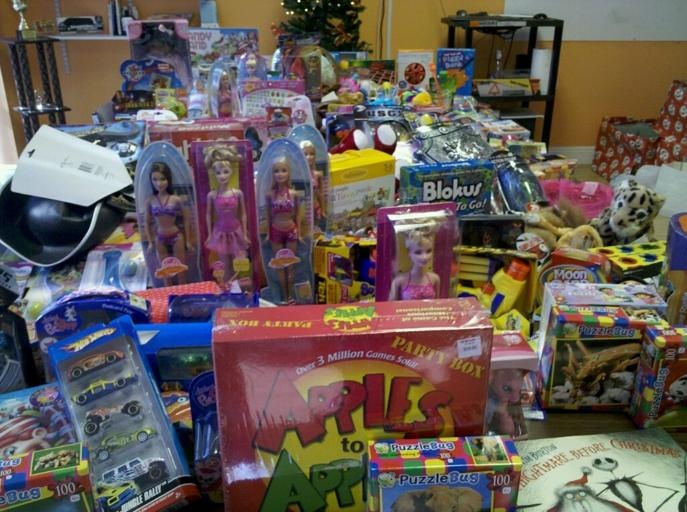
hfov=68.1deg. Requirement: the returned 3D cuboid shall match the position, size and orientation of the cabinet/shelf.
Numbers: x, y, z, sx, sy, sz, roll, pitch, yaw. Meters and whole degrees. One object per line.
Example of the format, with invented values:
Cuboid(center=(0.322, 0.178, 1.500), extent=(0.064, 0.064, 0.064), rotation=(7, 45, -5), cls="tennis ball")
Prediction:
Cuboid(center=(1.951, -2.068, 6.106), extent=(1.518, 1.612, 0.993), rotation=(-2, 19, -1), cls="cabinet/shelf")
